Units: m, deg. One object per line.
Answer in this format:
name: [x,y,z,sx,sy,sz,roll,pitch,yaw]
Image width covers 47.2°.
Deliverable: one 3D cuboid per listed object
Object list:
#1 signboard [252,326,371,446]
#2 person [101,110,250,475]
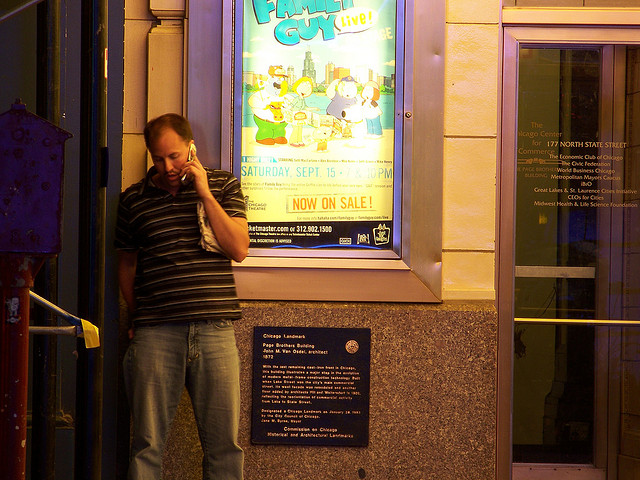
signboard: [-0.052,1.054,5.179,0.807,0.816,0.067,0,-1,3]
person: [-0.887,0.336,4.708,0.852,2.297,0.387,-1,2,-6]
